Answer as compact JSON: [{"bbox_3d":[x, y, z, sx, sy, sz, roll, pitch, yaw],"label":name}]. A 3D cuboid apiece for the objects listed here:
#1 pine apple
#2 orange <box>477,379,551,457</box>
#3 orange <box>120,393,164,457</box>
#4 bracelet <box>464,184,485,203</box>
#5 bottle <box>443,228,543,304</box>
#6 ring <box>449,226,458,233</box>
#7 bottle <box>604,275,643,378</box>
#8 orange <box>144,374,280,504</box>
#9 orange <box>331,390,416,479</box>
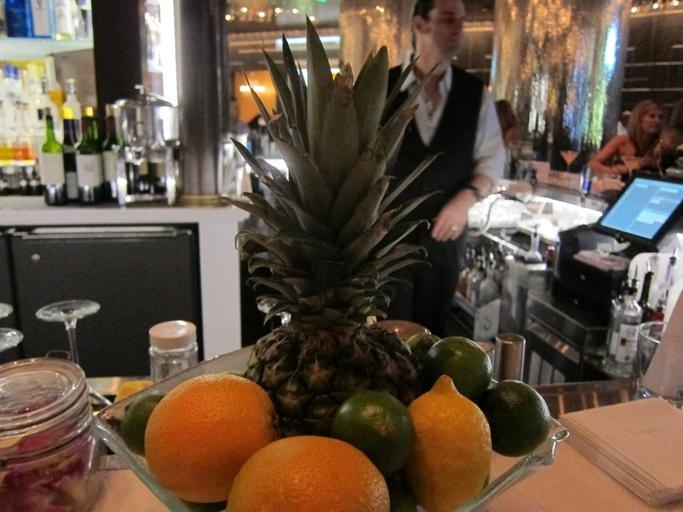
[{"bbox_3d":[-0.008,0.178,0.840,0.201,0.127,0.179,-6,-13,32],"label":"pine apple"},{"bbox_3d":[0.257,0.264,0.899,0.116,0.111,0.135,1,42,-1],"label":"orange"},{"bbox_3d":[-0.318,0.261,0.825,0.080,0.096,0.080,2,-10,-4],"label":"orange"},{"bbox_3d":[0.593,-0.281,2.351,0.057,0.080,0.028,-36,11,1],"label":"bracelet"},{"bbox_3d":[0.746,0.057,2.524,0.140,0.391,0.292,7,15,-4],"label":"bottle"},{"bbox_3d":[0.515,-0.122,2.385,0.021,0.028,0.007,-20,15,0],"label":"ring"},{"bbox_3d":[0.951,0.251,1.780,0.093,0.347,0.127,10,23,29],"label":"bottle"},{"bbox_3d":[-0.165,0.266,0.838,0.211,0.176,0.177,-9,24,10],"label":"orange"},{"bbox_3d":[0.041,0.258,0.791,0.117,0.117,0.112,-1,-12,-3],"label":"orange"}]
